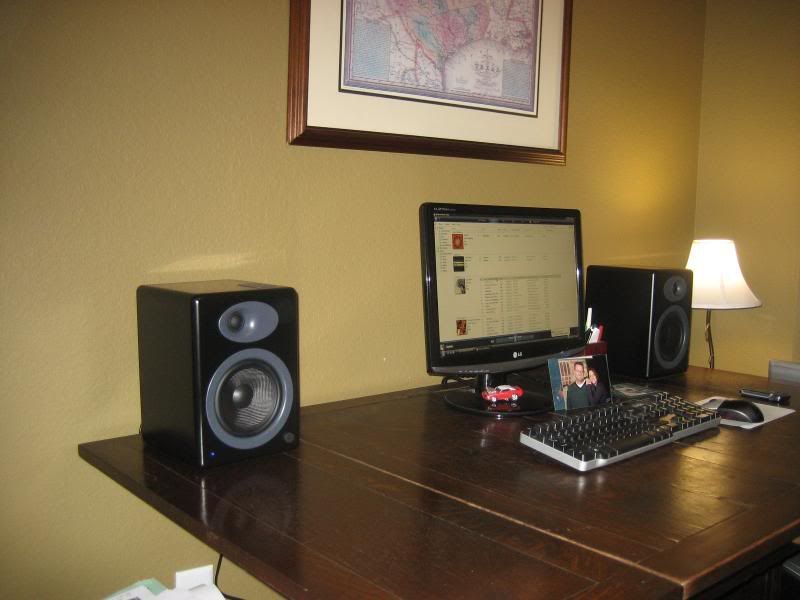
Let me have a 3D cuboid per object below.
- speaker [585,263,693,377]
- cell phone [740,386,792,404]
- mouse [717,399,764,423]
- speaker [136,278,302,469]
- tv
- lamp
[{"bbox_3d":[0.776,0.057,2.142,0.297,0.334,0.318,-1,9,-5],"label":"speaker"},{"bbox_3d":[1.016,0.265,1.879,0.045,0.047,0.163,11,-4,-33],"label":"cell phone"},{"bbox_3d":[0.844,0.270,1.637,0.061,0.034,0.094,-5,9,-30],"label":"mouse"},{"bbox_3d":[-0.384,0.147,1.472,0.262,0.364,0.292,-4,7,-36],"label":"speaker"},{"bbox_3d":[0.321,0.002,1.813,0.269,0.527,0.519,-20,15,-40],"label":"tv"},{"bbox_3d":[1.101,0.025,2.319,0.281,0.441,0.282,-6,8,-32],"label":"lamp"}]
